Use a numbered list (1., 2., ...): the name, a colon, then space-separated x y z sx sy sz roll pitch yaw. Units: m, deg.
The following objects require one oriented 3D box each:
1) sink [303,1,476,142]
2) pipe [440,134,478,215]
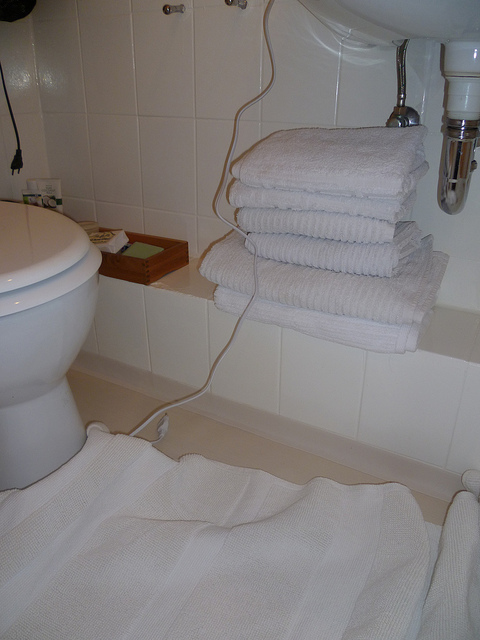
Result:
1. sink: 0.230 -0.375 0.736 0.181 0.288 0.159 -26 36 -36
2. pipe: 0.332 -0.224 0.749 0.041 0.112 0.071 6 13 20
